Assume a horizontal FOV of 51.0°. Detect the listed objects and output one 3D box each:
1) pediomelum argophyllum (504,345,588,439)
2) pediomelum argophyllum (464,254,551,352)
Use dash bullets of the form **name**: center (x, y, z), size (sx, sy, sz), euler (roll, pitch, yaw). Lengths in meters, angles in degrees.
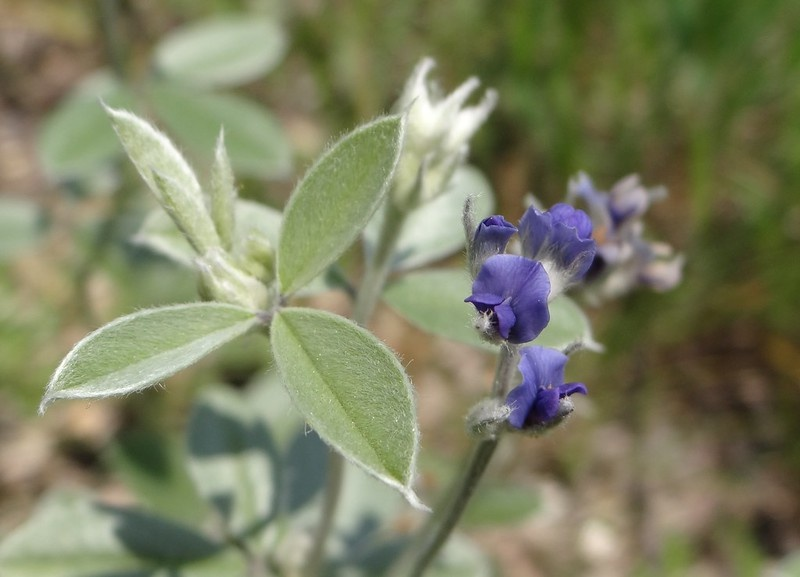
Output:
- **pediomelum argophyllum**: center (0.384, 0.270, 2.250), size (0.207, 0.230, 0.093), euler (14, -9, -19)
- **pediomelum argophyllum**: center (0.290, 0.025, 2.230), size (0.226, 0.226, 0.139), euler (2, 37, 5)
